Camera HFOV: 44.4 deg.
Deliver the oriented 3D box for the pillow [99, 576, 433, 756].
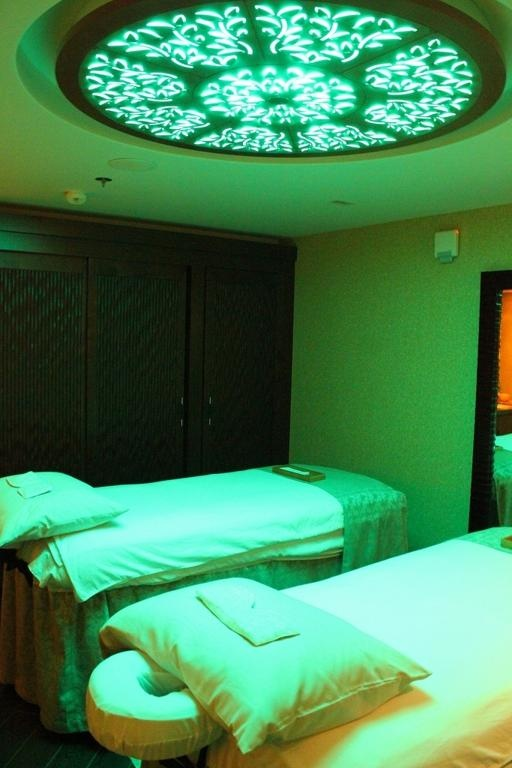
[{"bbox_3d":[-0.008,0.657,1.592,0.558,0.185,0.687,-5,10,-37],"label":"pillow"}]
